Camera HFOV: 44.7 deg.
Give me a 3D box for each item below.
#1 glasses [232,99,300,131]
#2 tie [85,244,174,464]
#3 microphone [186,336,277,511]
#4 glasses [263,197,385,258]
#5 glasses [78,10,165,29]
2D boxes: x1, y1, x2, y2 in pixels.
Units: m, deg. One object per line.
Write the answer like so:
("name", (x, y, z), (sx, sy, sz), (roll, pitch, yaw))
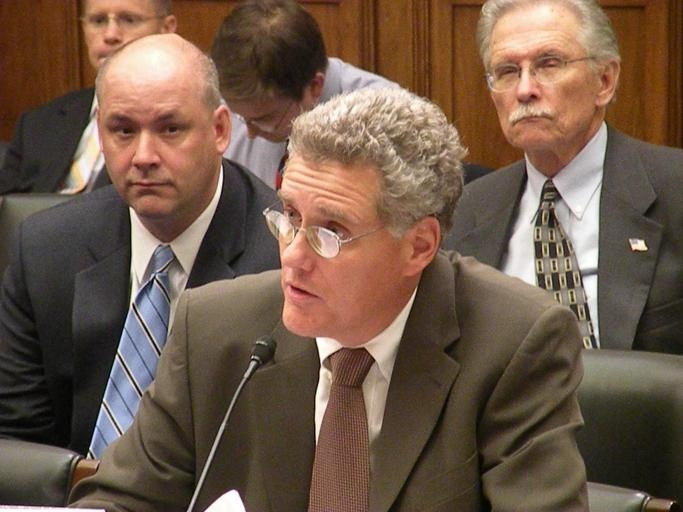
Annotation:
("glasses", (-0.322, -0.582, 3.392), (0.136, 0.077, 0.159), (6, 55, 34))
("tie", (-0.547, 0.264, 2.415), (0.055, 0.717, 0.167), (25, -17, -37))
("microphone", (-0.222, 0.353, 1.687), (0.177, 0.343, 0.319), (0, 7, -5))
("glasses", (-0.045, -0.046, 1.754), (0.250, 0.094, 0.076), (2, 7, 10))
("glasses", (-1.015, -1.081, 3.806), (0.396, 0.086, 0.154), (1, 8, 3))
